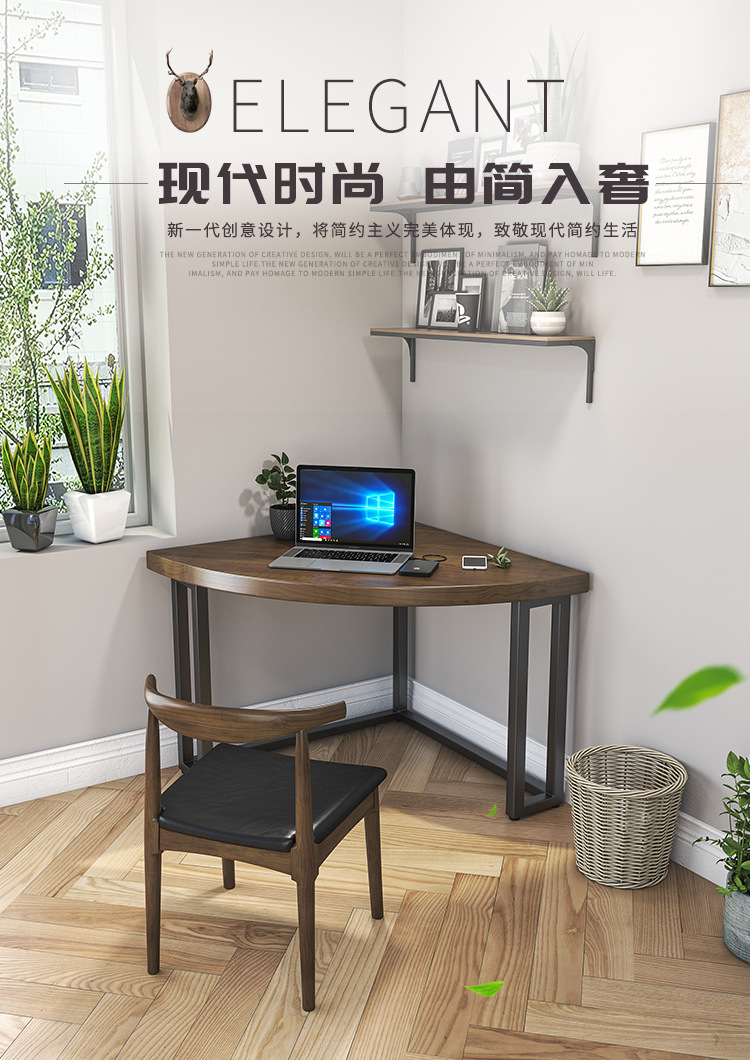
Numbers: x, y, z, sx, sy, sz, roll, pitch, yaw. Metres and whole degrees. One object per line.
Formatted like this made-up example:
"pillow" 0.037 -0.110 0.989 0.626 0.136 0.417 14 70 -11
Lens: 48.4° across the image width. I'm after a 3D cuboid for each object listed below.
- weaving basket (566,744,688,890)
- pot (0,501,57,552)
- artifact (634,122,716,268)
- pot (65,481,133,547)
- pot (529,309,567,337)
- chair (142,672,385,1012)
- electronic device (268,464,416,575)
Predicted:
"weaving basket" 0.616 0.714 2.148 0.282 0.261 0.309 -2 4 -11
"pot" -1.014 -0.012 2.448 0.135 0.137 0.130 0 4 0
"artifact" 0.686 -0.763 1.915 0.059 0.329 0.245 -1 5 -15
"pot" -0.851 -0.043 2.562 0.167 0.164 0.168 1 3 0
"pot" 0.455 -0.544 2.193 0.073 0.057 0.079 -1 14 0
"chair" -0.258 0.698 1.800 0.463 0.666 0.458 6 17 23
"electronic device" -0.097 -0.043 2.442 0.388 0.276 0.254 4 13 17
